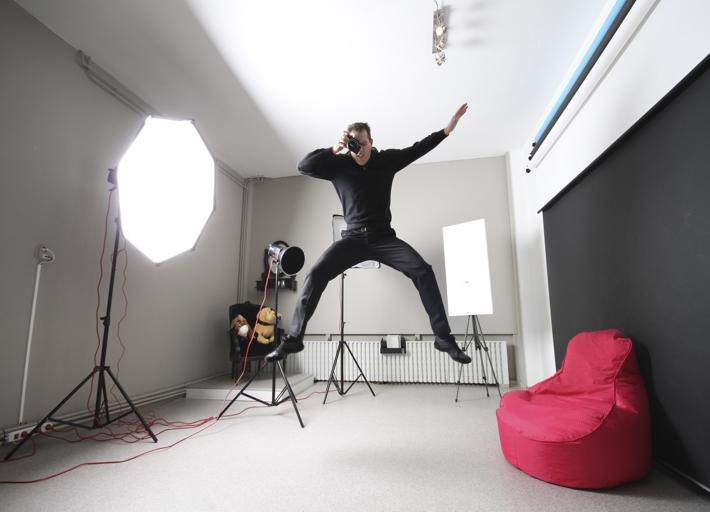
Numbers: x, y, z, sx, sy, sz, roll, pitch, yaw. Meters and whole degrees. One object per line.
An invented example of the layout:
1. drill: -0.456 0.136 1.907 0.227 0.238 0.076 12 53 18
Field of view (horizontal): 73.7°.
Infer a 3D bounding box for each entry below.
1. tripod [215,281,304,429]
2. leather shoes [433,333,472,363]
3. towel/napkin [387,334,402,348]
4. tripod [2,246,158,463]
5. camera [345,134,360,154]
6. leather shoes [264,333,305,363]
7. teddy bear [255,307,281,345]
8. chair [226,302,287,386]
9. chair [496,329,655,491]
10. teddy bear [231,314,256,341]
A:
1. tripod: -1.126 1.191 5.494 1.120 1.795 1.064 -3 -7 16
2. leather shoes: 0.849 0.828 4.199 0.267 0.262 0.413 -3 -7 9
3. towel/napkin: 0.497 1.113 6.143 0.143 0.163 0.035 -3 -8 21
4. tripod: -2.694 0.801 5.032 1.318 2.692 1.576 -1 -2 -17
5. camera: -0.010 -0.972 4.068 0.083 0.137 0.171 -6 -8 31
6. leather shoes: -0.644 0.798 4.189 0.465 0.169 0.210 -22 -61 33
7. teddy bear: -1.102 0.838 5.895 0.334 0.497 0.328 9 -2 2
8. chair: -1.257 1.063 5.868 0.642 0.883 0.676 2 3 1
9. chair: 1.741 1.167 3.870 1.117 1.128 1.090 -6 -5 40
10. teddy bear: -1.382 0.879 5.808 0.247 0.190 0.345 -25 -1 -20
